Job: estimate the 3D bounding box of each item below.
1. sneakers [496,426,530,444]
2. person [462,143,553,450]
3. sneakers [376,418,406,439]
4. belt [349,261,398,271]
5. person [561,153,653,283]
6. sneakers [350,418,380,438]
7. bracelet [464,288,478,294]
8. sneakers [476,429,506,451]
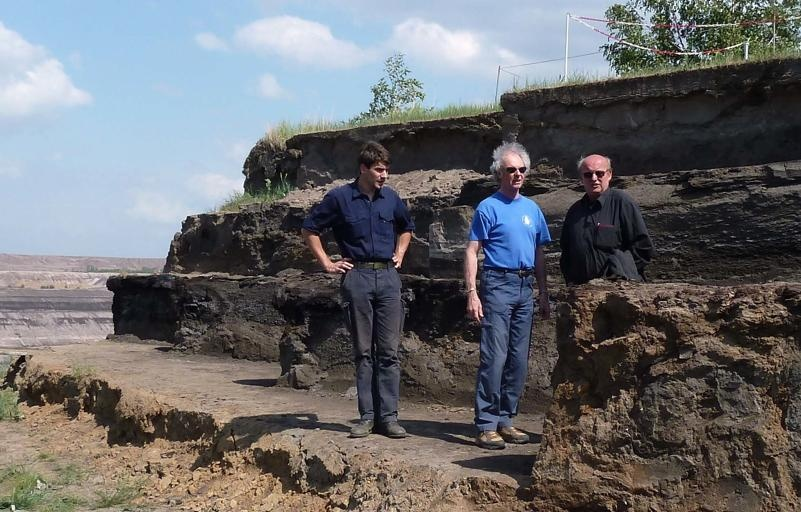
[{"bbox_3d":[1.414,2.282,12.683,0.378,0.169,0.190,-2,0,36],"label":"sneakers"},{"bbox_3d":[1.311,0.556,12.626,0.994,3.708,0.415,2,-2,-32],"label":"person"},{"bbox_3d":[-0.134,2.235,12.847,0.186,0.162,0.400,4,-8,-42],"label":"sneakers"},{"bbox_3d":[-0.351,0.137,12.798,0.509,0.096,0.081,1,-2,-15],"label":"belt"},{"bbox_3d":[2.518,-0.425,12.370,1.096,1.538,0.338,0,-2,9],"label":"person"},{"bbox_3d":[-0.466,2.244,12.885,0.156,0.169,0.411,-5,-11,36],"label":"sneakers"},{"bbox_3d":[0.905,0.470,12.992,0.144,0.102,0.139,0,2,2],"label":"bracelet"},{"bbox_3d":[1.100,2.310,12.484,0.359,0.159,0.170,-8,-6,43],"label":"sneakers"}]
